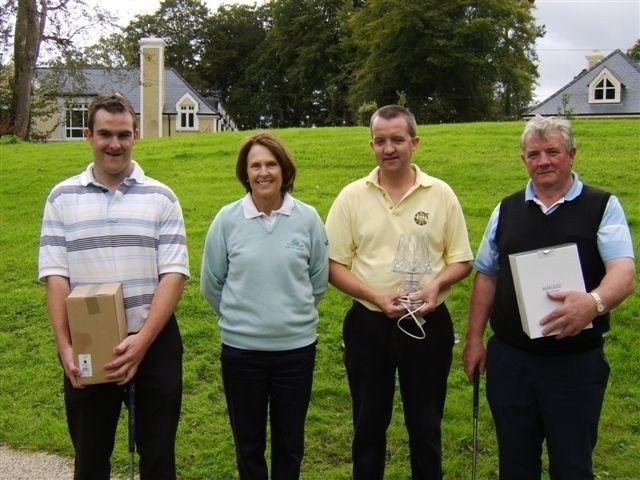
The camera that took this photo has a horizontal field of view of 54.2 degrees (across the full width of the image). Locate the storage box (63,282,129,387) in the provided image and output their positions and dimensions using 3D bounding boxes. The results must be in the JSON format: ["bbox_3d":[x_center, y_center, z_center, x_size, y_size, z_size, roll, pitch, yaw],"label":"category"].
[{"bbox_3d":[-1.602,0.635,4.458,0.350,0.648,0.385,-3,17,-15],"label":"storage box"}]
